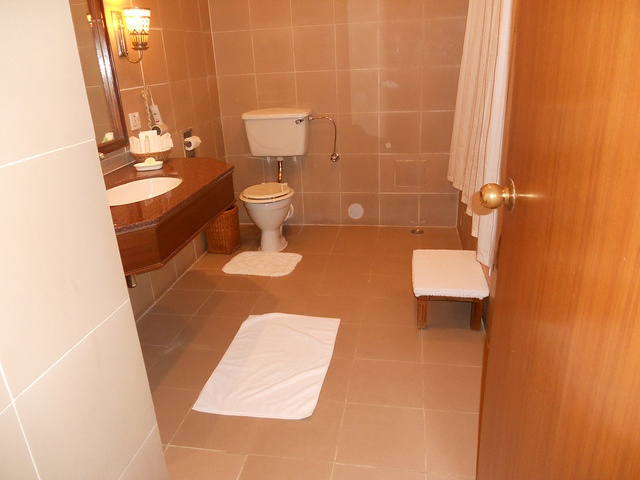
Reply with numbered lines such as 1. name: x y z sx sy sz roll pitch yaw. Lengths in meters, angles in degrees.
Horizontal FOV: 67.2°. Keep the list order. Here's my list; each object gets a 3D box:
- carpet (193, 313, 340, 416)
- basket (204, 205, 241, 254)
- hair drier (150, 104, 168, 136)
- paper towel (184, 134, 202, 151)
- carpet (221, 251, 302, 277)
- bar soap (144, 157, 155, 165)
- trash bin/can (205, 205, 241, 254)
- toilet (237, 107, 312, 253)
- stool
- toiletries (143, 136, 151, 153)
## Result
1. carpet: -0.225 0.611 2.482 0.569 0.077 0.839 2 29 12
2. basket: -0.705 -0.068 3.478 0.207 0.294 0.250 3 29 5
3. hair drier: -1.014 -0.762 3.021 0.078 0.156 0.276 -13 29 -16
4. paper towel: -0.871 -0.670 3.303 0.094 0.075 0.112 -14 29 -17
5. carpet: -0.413 0.171 3.538 0.533 0.048 0.418 2 29 13
6. bar soap: -0.945 -0.443 2.688 0.053 0.033 0.049 -12 28 -13
7. trash bin/can: -0.703 -0.070 3.478 0.206 0.292 0.249 3 29 5
8. toilet: -0.379 -0.481 3.816 0.507 1.010 0.897 4 24 8
9. stool: 0.689 0.338 2.705 0.349 0.251 0.491 0 29 7
10. toiletries: -0.977 -0.548 2.741 0.017 0.082 0.038 18 34 38
